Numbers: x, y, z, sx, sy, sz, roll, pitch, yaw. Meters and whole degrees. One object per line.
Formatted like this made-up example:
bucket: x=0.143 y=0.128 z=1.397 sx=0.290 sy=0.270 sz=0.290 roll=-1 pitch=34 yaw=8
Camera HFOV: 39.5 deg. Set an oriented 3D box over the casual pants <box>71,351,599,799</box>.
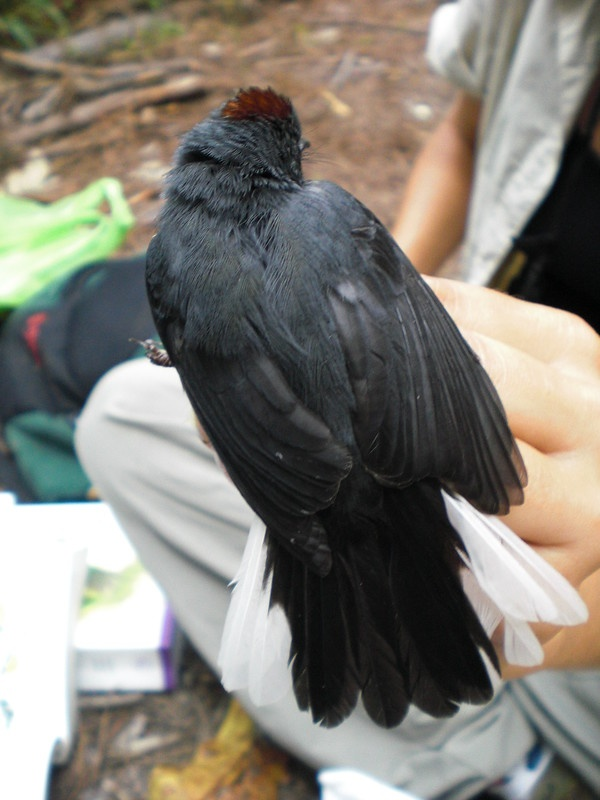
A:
casual pants: x=0.170 y=0.491 z=2.764 sx=1.432 sy=1.103 sz=0.618 roll=50 pitch=18 yaw=8
